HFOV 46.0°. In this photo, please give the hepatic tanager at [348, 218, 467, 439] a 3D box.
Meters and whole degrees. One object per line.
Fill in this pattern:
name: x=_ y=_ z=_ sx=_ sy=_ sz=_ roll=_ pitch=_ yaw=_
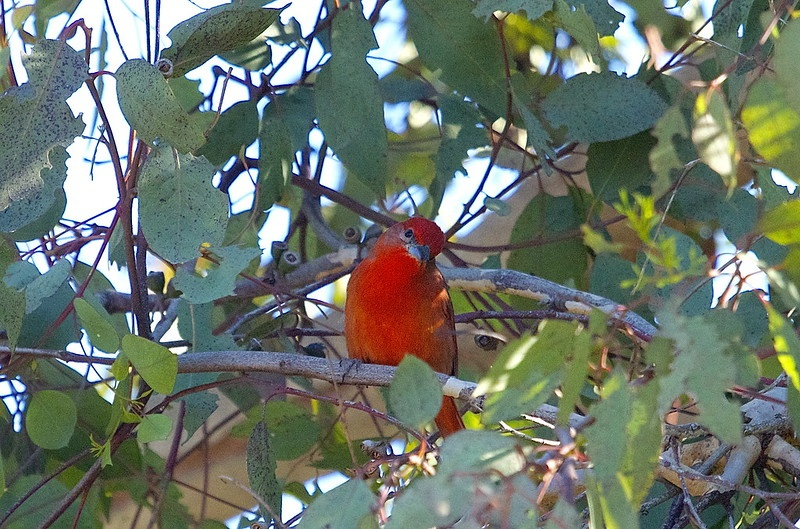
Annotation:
hepatic tanager: x=0.009 y=0.222 z=4.585 sx=0.478 sy=0.892 sz=0.930 roll=6 pitch=88 yaw=4
